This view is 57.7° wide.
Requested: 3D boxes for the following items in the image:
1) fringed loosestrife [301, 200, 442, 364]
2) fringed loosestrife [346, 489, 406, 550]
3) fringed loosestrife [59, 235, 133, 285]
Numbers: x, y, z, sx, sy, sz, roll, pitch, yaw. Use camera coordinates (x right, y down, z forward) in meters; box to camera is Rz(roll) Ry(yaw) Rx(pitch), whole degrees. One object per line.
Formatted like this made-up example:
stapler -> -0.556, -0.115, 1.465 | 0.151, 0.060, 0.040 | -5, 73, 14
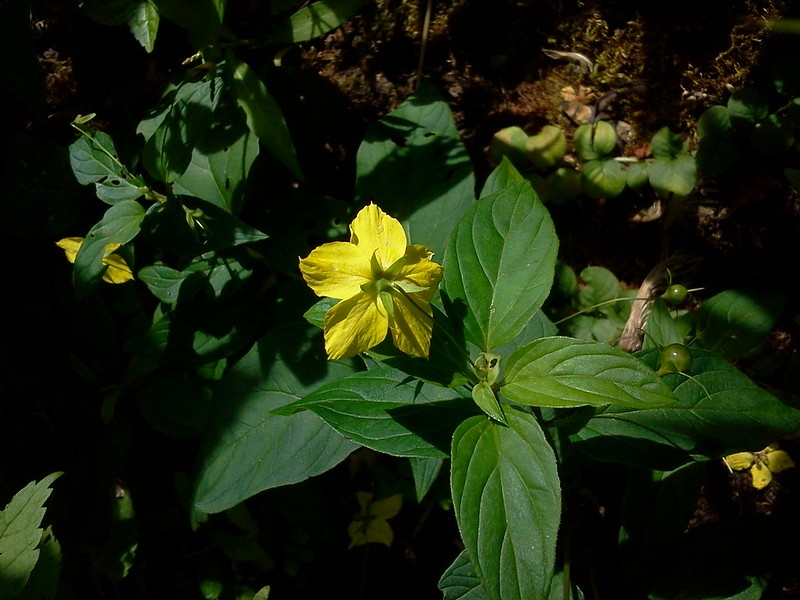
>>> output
fringed loosestrife -> -0.038, -0.020, 1.681 | 0.307, 0.308, 0.098 | -32, 5, -21
fringed loosestrife -> -0.080, 0.724, 2.361 | 0.177, 0.188, 0.052 | 3, 11, -9
fringed loosestrife -> -0.903, -0.108, 2.170 | 0.226, 0.147, 0.023 | 15, 12, -11
